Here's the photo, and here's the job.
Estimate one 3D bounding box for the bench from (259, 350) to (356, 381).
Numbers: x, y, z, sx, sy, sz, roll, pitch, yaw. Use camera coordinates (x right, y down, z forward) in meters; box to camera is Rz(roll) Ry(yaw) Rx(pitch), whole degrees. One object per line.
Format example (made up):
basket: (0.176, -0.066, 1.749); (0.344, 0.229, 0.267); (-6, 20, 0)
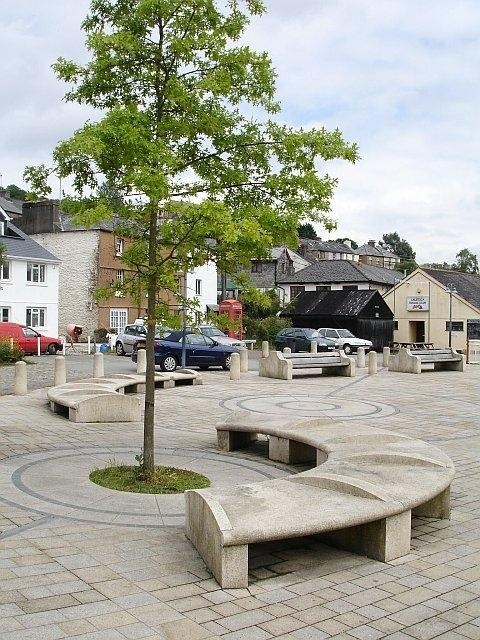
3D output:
bench: (1.922, 1.262, 22.897); (2.777, 0.781, 1.339); (0, 2, -38)

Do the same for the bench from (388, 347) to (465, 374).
bench: (6.149, 1.321, 26.526); (2.089, 0.831, 3.893); (2, 2, 26)
